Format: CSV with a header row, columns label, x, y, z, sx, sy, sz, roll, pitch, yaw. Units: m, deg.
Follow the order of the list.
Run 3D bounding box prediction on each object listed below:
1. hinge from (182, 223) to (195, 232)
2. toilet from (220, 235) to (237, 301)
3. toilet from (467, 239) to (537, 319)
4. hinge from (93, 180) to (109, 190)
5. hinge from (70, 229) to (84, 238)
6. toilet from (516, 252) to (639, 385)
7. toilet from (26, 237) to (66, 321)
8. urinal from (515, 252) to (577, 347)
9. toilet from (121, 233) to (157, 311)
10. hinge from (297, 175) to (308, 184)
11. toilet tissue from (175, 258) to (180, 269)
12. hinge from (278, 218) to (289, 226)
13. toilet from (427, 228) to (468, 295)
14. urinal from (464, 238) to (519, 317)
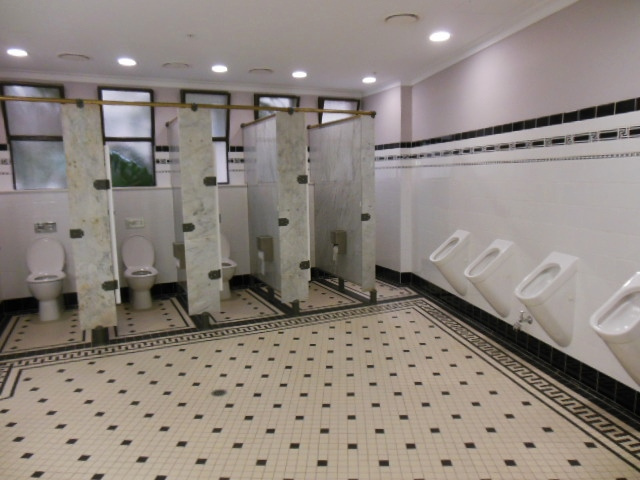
label,x,y,z,sx,sy,sz,roll,pitch,yaw
hinge,-1.467,-0.143,4.943,0.135,0.102,0.067,-1,15,0
toilet,-1.324,0.415,6.308,0.236,0.829,0.801,-5,15,-12
toilet,1.863,0.429,4.700,0.599,0.733,0.383,-30,19,-21
hinge,-2.268,-0.574,4.597,0.152,0.100,0.029,-8,16,-25
hinge,-2.514,-0.072,4.592,0.129,0.098,0.034,-9,16,-26
toilet,2.207,0.662,3.745,0.532,0.911,0.946,-10,16,-15
toilet,-3.430,0.504,5.626,0.455,0.974,0.652,-10,17,-30
urinal,2.081,0.605,4.039,0.471,0.864,0.401,-17,12,-2
toilet,-2.430,0.428,6.019,0.487,0.924,0.724,-7,16,-22
hinge,-0.215,-0.724,5.303,0.107,0.108,0.019,-5,15,-15
toilet tissue,-1.974,0.320,6.139,0.089,0.156,0.163,-3,7,-24
hinge,-0.433,-0.218,5.302,0.120,0.097,0.037,-1,15,0
toilet,1.590,0.282,5.386,0.443,0.763,0.390,-9,9,5
urinal,1.806,0.440,4.683,0.538,0.762,0.364,-12,9,-13
